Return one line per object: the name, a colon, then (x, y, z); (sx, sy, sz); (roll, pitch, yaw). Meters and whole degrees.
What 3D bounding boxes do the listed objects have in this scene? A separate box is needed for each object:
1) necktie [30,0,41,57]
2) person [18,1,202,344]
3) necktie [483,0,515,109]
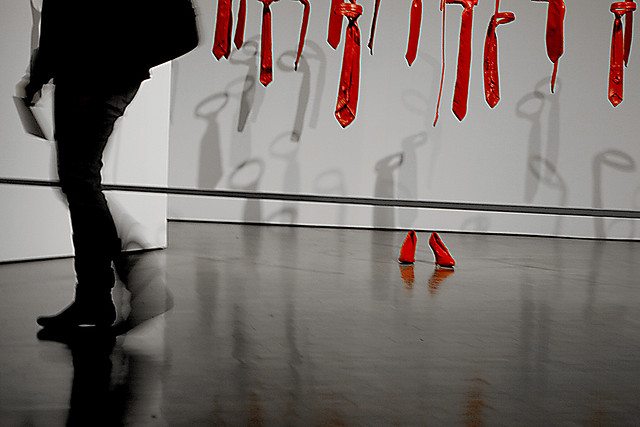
necktie: (-1.160, -0.754, 2.931); (0.031, 0.220, 0.211); (0, 9, -22)
person: (-0.888, -0.182, 2.899); (0.719, 1.367, 0.300); (2, 7, -3)
necktie: (1.518, -1.366, 6.066); (0.194, 0.202, 0.894); (4, -31, 19)
